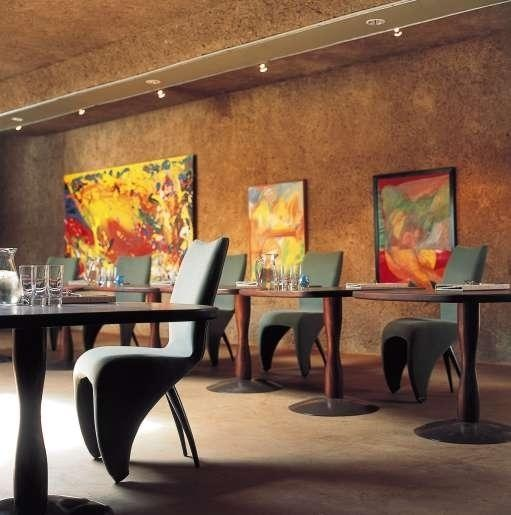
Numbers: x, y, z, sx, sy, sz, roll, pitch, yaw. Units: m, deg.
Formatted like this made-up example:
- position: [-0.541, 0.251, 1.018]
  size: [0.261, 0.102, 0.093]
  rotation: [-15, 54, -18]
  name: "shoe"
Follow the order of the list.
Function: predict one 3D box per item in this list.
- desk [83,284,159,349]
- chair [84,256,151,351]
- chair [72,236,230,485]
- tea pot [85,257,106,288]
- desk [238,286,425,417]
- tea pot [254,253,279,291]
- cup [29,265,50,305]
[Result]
- position: [-0.989, 0.531, 4.422]
  size: [0.685, 0.464, 0.679]
  rotation: [-11, 1, -40]
  name: "desk"
- position: [-1.385, 0.519, 5.210]
  size: [0.474, 0.957, 0.558]
  rotation: [7, -6, -12]
  name: "chair"
- position: [-0.422, 0.360, 2.055]
  size: [0.583, 0.849, 0.599]
  rotation: [0, -1, 37]
  name: "chair"
- position: [-2.103, 0.184, 7.065]
  size: [0.241, 0.339, 0.335]
  rotation: [3, -9, -13]
  name: "tea pot"
- position: [0.247, 0.573, 3.454]
  size: [0.607, 0.562, 0.879]
  rotation: [1, -3, -28]
  name: "desk"
- position: [0.098, 0.085, 3.798]
  size: [0.153, 0.244, 0.157]
  rotation: [3, -7, 0]
  name: "tea pot"
- position: [-0.696, 0.090, 1.733]
  size: [0.054, 0.131, 0.110]
  rotation: [0, -2, -22]
  name: "cup"
